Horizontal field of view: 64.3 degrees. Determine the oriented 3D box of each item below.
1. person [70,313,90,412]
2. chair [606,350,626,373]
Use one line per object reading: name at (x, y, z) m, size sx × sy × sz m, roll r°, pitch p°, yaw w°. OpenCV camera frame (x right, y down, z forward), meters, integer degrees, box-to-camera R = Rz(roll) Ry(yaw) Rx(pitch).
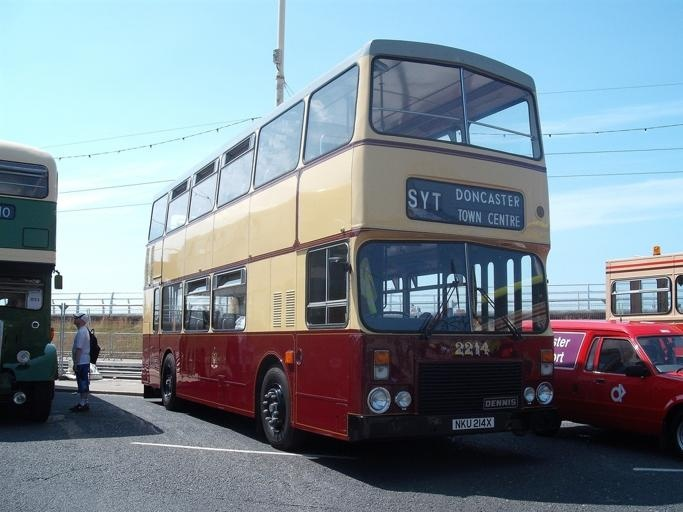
person at (-6.589, 2.672, 13.782) m, size 0.444 × 2.379 × 0.808 m, roll 4°, pitch -8°, yaw -26°
chair at (4.798, 1.864, 9.566) m, size 0.297 × 0.585 × 0.286 m, roll 3°, pitch -6°, yaw 0°
